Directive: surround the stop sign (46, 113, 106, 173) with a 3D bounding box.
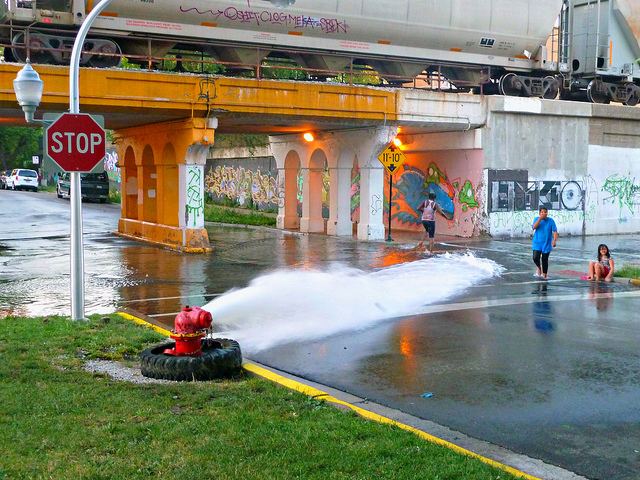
[{"bbox_3d":[-4.312,-1.722,13.405,0.898,0.951,0.122,-8,10,-35],"label":"stop sign"}]

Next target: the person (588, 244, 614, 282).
[{"bbox_3d":[7.043,0.551,19.140,0.559,0.849,0.544,5,10,24],"label":"person"}]

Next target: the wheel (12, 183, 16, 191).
[{"bbox_3d":[-23.660,-4.205,59.144,0.168,0.573,0.522,3,5,-28],"label":"wheel"}]

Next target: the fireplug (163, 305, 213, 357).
[{"bbox_3d":[-1.979,1.385,11.420,0.710,0.890,0.585,1,5,19],"label":"fireplug"}]

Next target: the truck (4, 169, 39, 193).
[{"bbox_3d":[-23.299,-4.656,59.824,1.738,1.599,3.287,-1,13,-31],"label":"truck"}]

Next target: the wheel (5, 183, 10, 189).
[{"bbox_3d":[-25.053,-4.362,61.200,0.150,0.530,1.102,-4,11,-31],"label":"wheel"}]

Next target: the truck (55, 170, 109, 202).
[{"bbox_3d":[-14.526,-3.222,47.000,2.866,1.998,3.362,-2,10,-18],"label":"truck"}]

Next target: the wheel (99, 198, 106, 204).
[{"bbox_3d":[-13.758,-2.501,48.355,0.278,0.225,0.275,2,-1,0],"label":"wheel"}]
